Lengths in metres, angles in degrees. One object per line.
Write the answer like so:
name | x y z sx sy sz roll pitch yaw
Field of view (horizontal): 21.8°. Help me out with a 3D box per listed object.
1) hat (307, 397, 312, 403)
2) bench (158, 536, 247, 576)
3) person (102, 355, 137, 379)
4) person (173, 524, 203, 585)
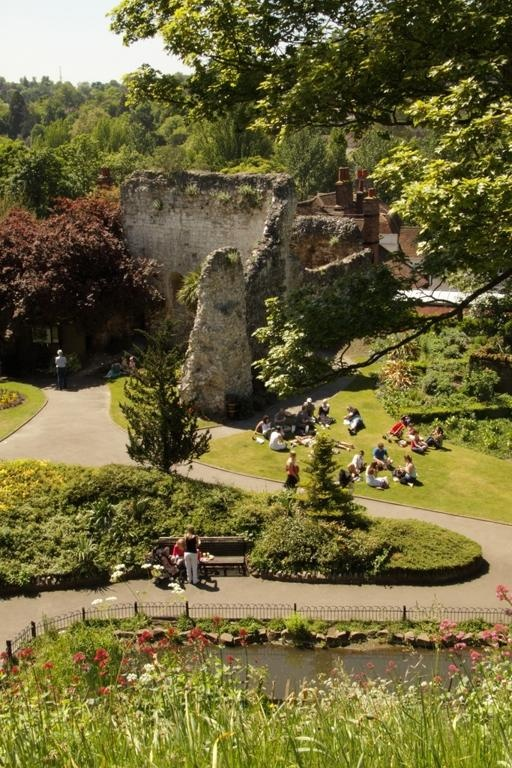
hat | 1.473 0.435 35.879 0.136 0.071 0.197 1 0 0
bench | -0.631 3.120 24.342 1.818 0.644 0.808 1 17 13
person | -3.929 -0.462 38.665 0.661 0.442 1.346 7 -19 -9
person | -1.205 3.034 23.742 0.491 1.108 0.757 -2 6 -5
